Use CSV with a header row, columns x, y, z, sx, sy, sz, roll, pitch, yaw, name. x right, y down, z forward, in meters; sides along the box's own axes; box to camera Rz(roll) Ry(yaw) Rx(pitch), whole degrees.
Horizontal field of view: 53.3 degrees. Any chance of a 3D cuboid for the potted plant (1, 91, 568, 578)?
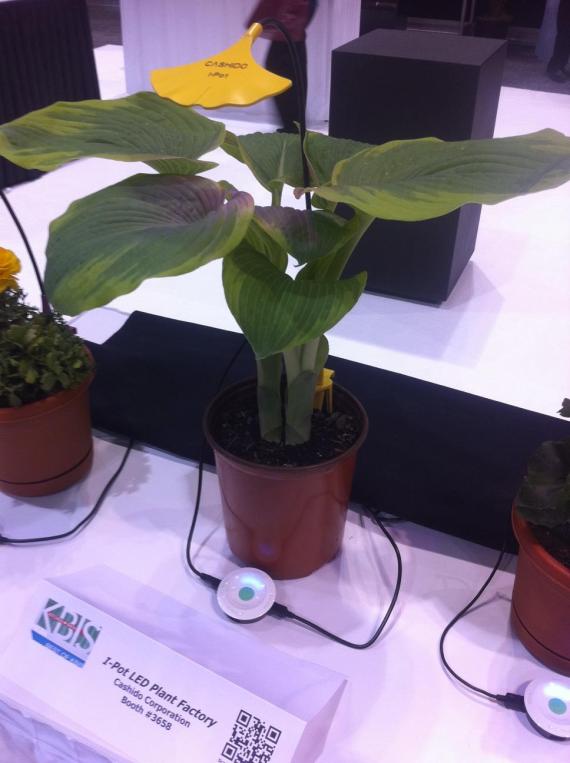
x,y,z,sx,sy,sz,roll,pitch,yaw,name
0.017,-0.041,0.646,0.390,0.414,0.408,18,47,18,potted plant
